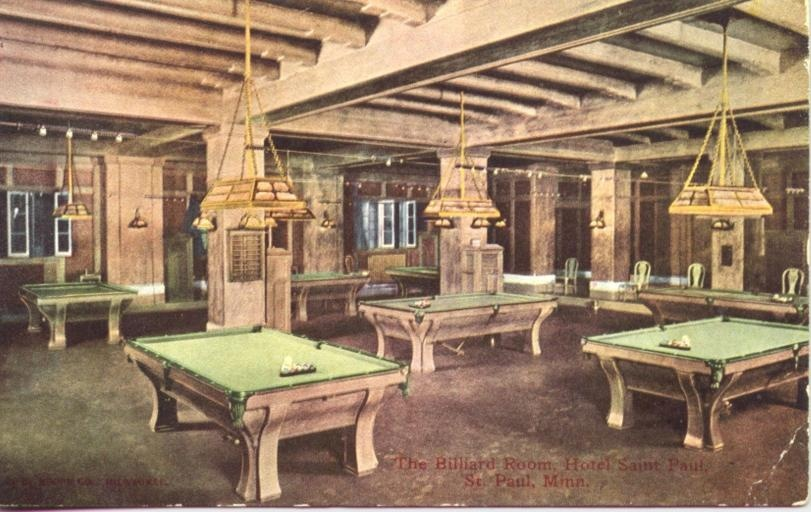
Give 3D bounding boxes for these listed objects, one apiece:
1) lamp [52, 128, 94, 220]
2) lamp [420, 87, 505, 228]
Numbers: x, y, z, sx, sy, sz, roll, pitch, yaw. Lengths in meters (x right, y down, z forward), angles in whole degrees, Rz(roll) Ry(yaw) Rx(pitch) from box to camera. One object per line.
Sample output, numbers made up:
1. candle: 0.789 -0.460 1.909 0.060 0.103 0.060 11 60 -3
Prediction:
1. lamp: -6.745 -1.593 13.858 0.623 1.865 4.338 -4 5 -25
2. lamp: 0.875 -1.666 11.539 1.632 1.952 1.552 4 7 24
